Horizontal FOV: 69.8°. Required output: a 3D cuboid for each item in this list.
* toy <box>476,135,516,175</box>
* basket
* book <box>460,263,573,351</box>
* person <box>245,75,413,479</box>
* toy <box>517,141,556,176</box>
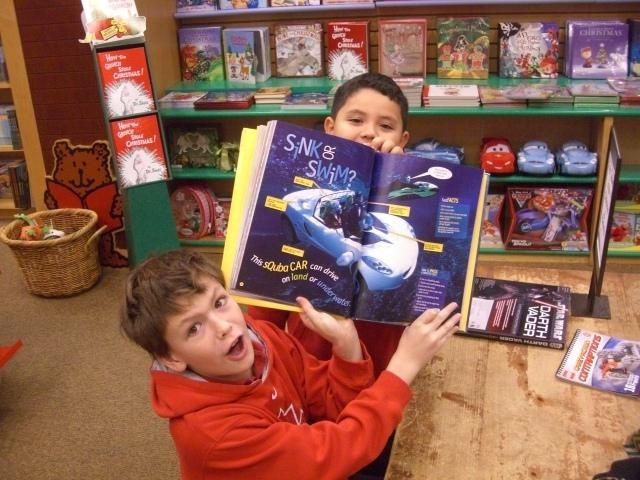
[{"bbox_3d":[1.261,-0.628,3.334,0.263,0.187,0.393,-1,27,4],"label":"toy"},{"bbox_3d":[-1.909,0.094,3.380,0.557,0.560,0.595,14,28,34],"label":"basket"},{"bbox_3d":[0.730,0.244,1.675,0.355,0.357,0.031,6,47,19],"label":"book"},{"bbox_3d":[0.163,0.010,1.444,0.305,1.040,0.710,-10,4,39],"label":"person"},{"bbox_3d":[1.555,-0.600,3.303,0.257,0.177,0.431,6,27,18],"label":"toy"}]
